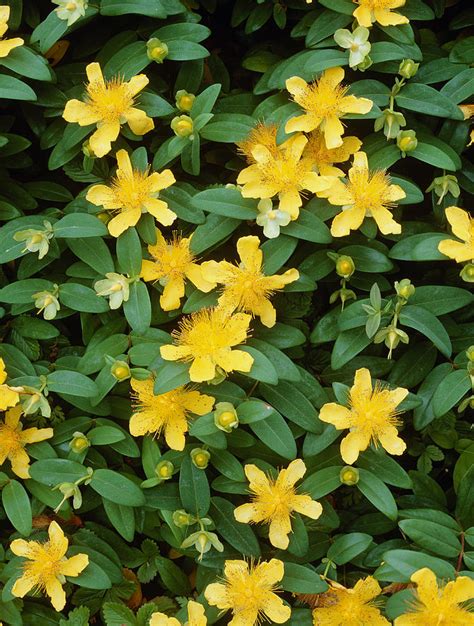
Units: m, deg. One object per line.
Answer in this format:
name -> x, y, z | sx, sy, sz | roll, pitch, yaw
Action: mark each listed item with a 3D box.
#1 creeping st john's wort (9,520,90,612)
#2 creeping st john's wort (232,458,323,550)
creeping st john's wort -> -0.391, 0.524, 1.251 | 0.206, 0.073, 0.177 | 10, 96, 20
creeping st john's wort -> 0.083, 0.399, 1.195 | 0.170, 0.201, 0.148 | -7, 60, 4
